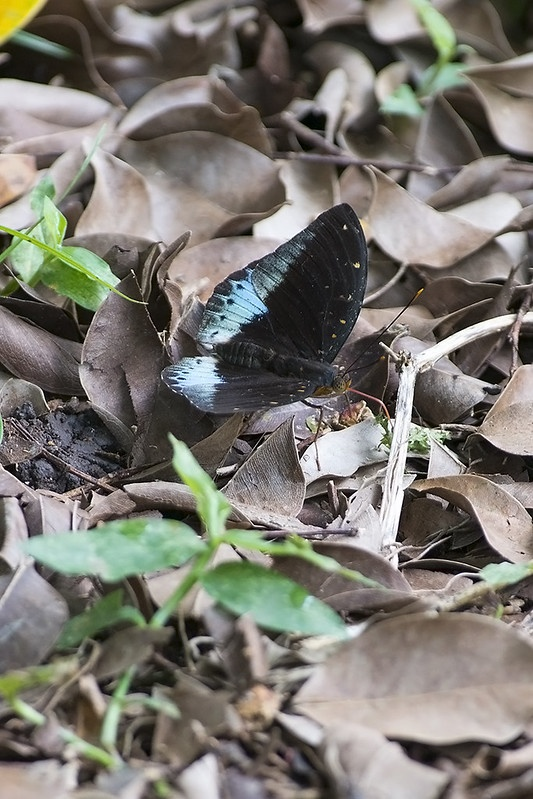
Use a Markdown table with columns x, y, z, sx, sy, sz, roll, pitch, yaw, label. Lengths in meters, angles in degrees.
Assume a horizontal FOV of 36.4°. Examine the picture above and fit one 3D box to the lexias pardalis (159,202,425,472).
| x | y | z | sx | sy | sz | roll | pitch | yaw | label |
| --- | --- | --- | --- | --- | --- | --- | --- | --- | --- |
| 0.008 | -0.052 | 1.200 | 0.316 | 0.148 | 0.410 | 24 | 51 | 13 | lexias pardalis |
